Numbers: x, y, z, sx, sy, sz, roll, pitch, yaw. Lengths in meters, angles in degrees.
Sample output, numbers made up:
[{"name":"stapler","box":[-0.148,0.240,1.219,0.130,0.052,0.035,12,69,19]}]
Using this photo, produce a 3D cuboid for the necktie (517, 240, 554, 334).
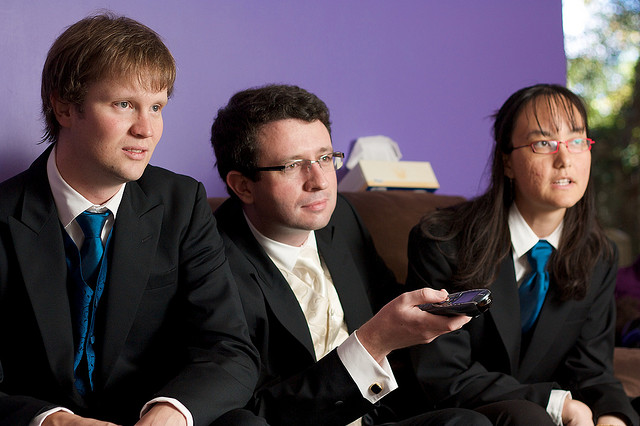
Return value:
[{"name":"necktie","box":[0.919,0.321,2.537,0.118,0.407,0.107,15,4,3]}]

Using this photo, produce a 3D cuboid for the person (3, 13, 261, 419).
[{"name":"person","box":[-0.694,0.029,2.116,0.932,1.470,0.521,3,8,8]}]

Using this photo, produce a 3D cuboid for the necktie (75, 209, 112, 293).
[{"name":"necktie","box":[-0.826,0.138,2.131,0.122,0.286,0.083,-2,8,-25]}]

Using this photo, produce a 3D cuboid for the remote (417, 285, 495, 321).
[{"name":"remote","box":[0.480,0.319,2.024,0.300,0.073,0.182,-5,24,43]}]
